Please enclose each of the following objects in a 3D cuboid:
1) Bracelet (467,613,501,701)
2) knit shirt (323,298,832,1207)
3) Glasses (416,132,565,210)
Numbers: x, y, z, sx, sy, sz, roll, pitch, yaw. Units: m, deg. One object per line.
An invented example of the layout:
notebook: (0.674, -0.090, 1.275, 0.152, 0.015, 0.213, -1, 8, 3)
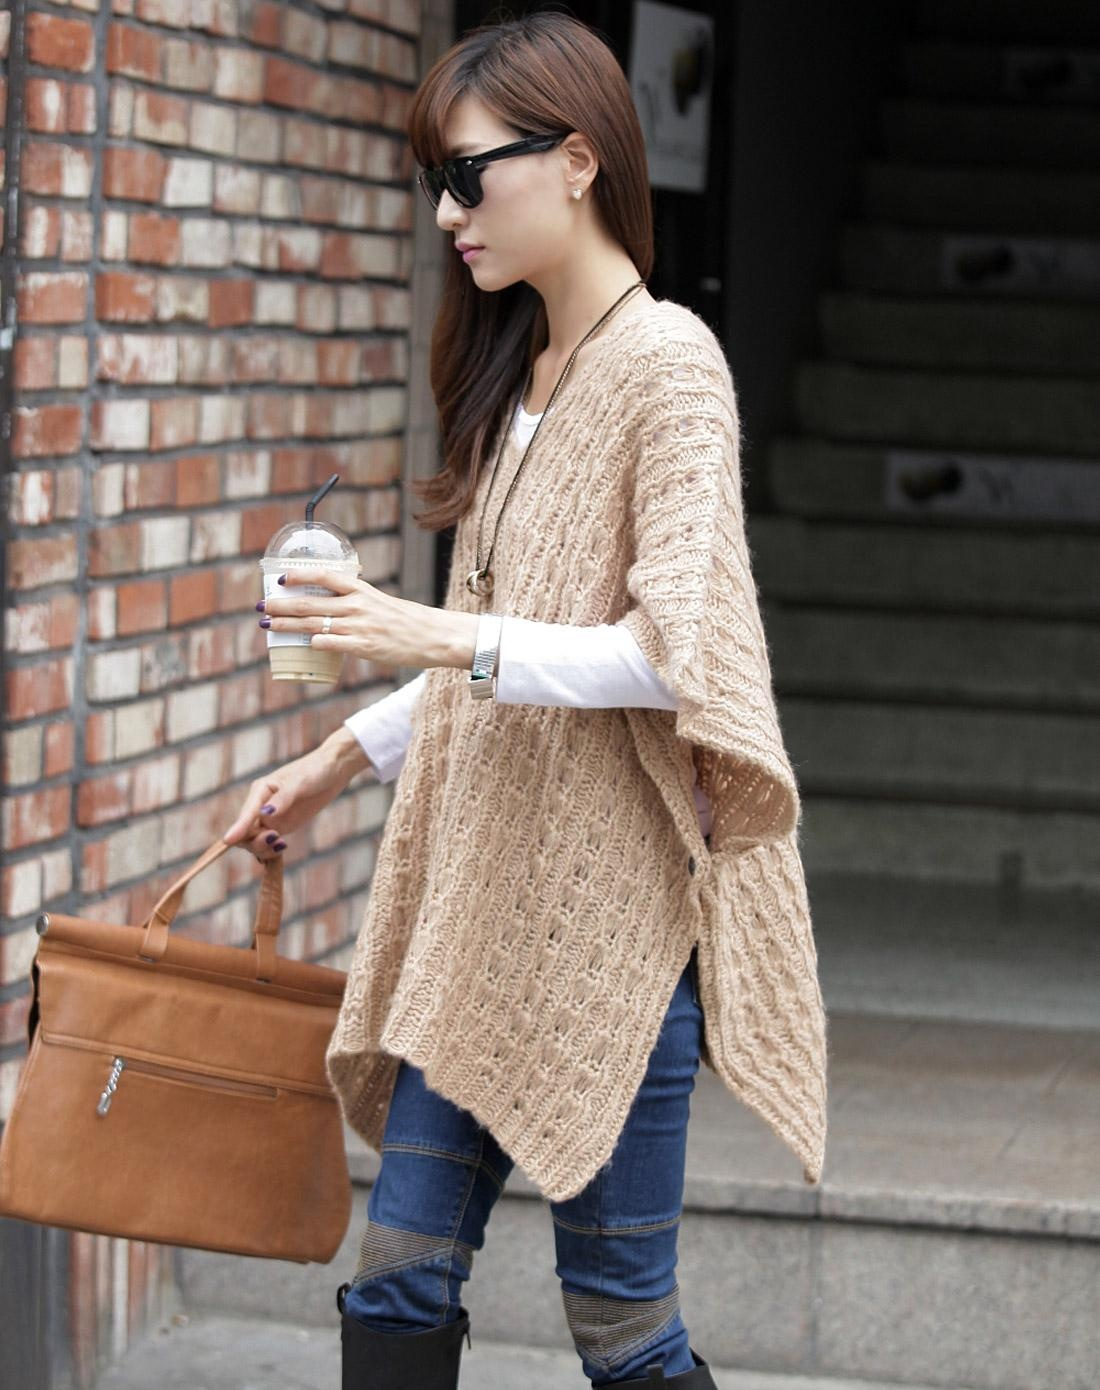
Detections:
Bracelet: (-0.060, -0.036, 1.535, 0.039, 0.066, 0.070, 3, -14, 9)
knit shirt: (0.036, 0.090, 1.699, 0.565, 1.022, 0.401, 6, 8, 10)
Glasses: (-0.053, -0.528, 1.642, 0.095, 0.032, 0.092, -20, 2, -18)
